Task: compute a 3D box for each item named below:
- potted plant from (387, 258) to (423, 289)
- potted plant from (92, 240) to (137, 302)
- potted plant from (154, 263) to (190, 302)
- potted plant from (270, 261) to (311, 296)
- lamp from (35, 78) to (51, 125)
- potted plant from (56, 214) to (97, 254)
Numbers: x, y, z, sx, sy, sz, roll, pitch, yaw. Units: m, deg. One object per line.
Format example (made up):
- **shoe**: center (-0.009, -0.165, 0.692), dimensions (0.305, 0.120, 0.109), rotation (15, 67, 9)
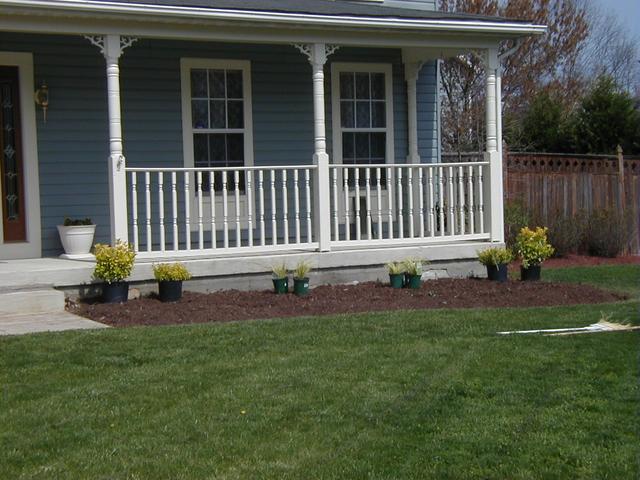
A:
- **potted plant**: center (1.188, 0.475, 10.954), dimensions (0.394, 0.356, 0.373), rotation (0, -4, -6)
- **potted plant**: center (-2.521, 0.382, 9.884), dimensions (0.615, 0.984, 0.617), rotation (1, -2, -15)
- **potted plant**: center (-1.883, 0.495, 10.038), dimensions (0.463, 0.576, 0.418), rotation (1, -1, -10)
- **potted plant**: center (-0.392, 0.514, 10.642), dimensions (0.515, 0.432, 0.563), rotation (0, 12, -2)
- **lamp**: center (-3.951, -1.971, 11.219), dimensions (0.090, 0.558, 0.239), rotation (29, 33, 36)
- **potted plant**: center (-3.438, -0.021, 11.068), dimensions (0.497, 0.537, 0.703), rotation (-4, 13, -20)
